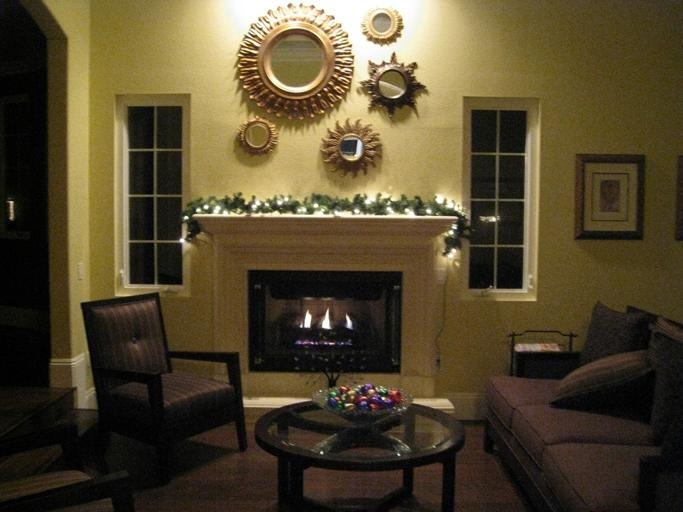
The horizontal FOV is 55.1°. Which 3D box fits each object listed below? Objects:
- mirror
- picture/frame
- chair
[{"bbox_3d":[-0.076,-1.509,5.766,1.561,1.332,0.074,0,0,1],"label":"mirror"},{"bbox_3d":[2.345,-0.521,5.771,0.584,0.740,0.048,1,0,4],"label":"picture/frame"},{"bbox_3d":[-1.359,0.944,5.043,0.868,1.302,0.862,0,-1,36],"label":"chair"}]
